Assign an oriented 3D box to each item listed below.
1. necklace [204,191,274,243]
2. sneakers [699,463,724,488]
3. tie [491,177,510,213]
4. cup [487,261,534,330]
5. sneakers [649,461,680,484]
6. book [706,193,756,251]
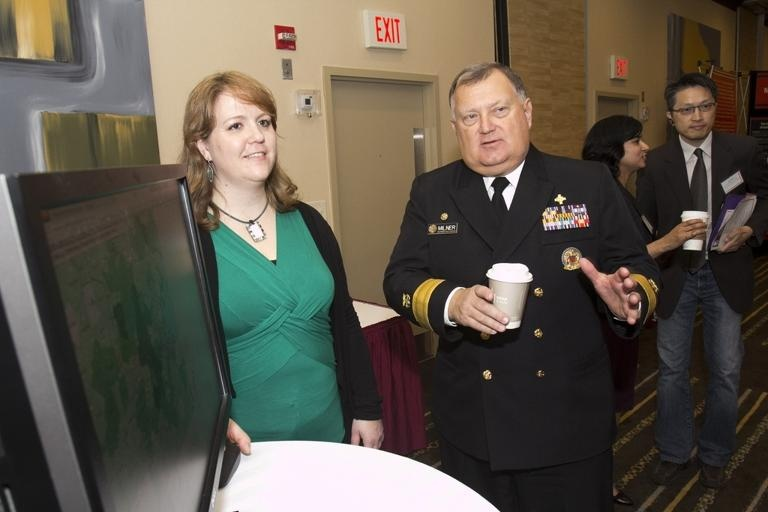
[{"bbox_3d":[-0.437,-0.109,1.651,0.134,0.140,0.037,-25,-14,-32],"label":"necklace"},{"bbox_3d":[1.722,1.153,2.632,0.108,0.074,0.113,6,16,30],"label":"sneakers"},{"bbox_3d":[0.368,-0.189,1.582,0.053,0.105,0.026,-12,0,2],"label":"tie"},{"bbox_3d":[0.335,0.099,1.333,0.142,0.189,0.151,0,3,0],"label":"cup"},{"bbox_3d":[1.496,1.144,2.686,0.070,0.094,0.210,-22,-15,39],"label":"sneakers"},{"bbox_3d":[1.686,-0.195,2.528,0.247,0.273,0.073,-9,19,-37],"label":"book"}]
